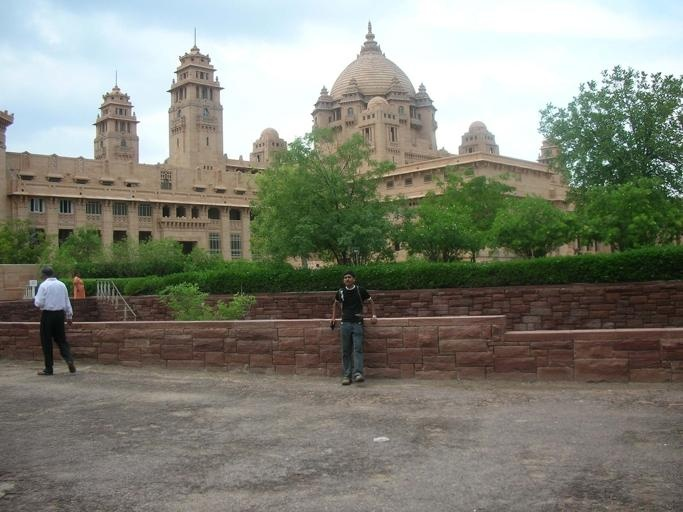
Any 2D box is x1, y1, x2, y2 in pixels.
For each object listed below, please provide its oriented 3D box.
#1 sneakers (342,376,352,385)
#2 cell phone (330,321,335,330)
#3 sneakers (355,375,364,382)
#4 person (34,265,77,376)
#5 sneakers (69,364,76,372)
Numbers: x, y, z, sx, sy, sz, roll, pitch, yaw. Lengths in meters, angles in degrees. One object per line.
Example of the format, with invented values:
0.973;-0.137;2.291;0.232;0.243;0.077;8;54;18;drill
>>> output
0.112;2.331;12.210;0.109;0.106;0.245;-2;-16;2;sneakers
-0.143;1.374;12.932;0.065;0.139;0.145;5;-8;-38;cell phone
0.361;2.285;12.188;0.186;0.129;0.111;-2;-1;-18;sneakers
-6.009;1.329;13.710;0.705;1.790;0.921;-2;-1;-24;person
-5.561;2.310;13.491;0.143;0.173;0.055;-6;13;-13;sneakers
